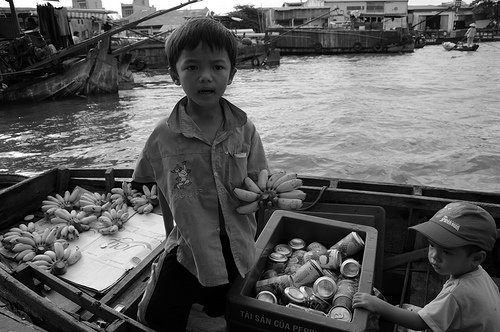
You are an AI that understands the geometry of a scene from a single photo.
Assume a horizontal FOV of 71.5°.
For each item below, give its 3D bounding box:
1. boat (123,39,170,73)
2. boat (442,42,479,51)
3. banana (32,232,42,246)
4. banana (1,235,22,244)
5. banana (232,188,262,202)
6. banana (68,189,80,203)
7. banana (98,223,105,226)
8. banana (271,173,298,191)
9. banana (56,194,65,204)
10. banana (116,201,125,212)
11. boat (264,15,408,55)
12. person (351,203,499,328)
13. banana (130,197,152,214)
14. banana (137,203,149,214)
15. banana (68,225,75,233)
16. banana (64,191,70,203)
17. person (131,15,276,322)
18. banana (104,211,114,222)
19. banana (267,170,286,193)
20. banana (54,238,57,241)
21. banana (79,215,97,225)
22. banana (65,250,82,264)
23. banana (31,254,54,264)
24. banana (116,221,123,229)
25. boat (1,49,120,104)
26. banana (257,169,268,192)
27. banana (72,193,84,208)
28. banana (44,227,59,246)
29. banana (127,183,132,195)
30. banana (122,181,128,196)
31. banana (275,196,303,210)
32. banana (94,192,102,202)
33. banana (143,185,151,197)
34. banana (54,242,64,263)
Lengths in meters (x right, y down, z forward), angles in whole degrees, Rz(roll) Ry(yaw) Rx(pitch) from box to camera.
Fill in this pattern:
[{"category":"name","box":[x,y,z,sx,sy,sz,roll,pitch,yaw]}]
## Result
[{"category":"boat","box":[-9.268,-9.947,31.519,4.227,2.507,2.540,-1,3,-14]},{"category":"boat","box":[25.277,-14.288,41.744,2.399,0.570,2.316,6,10,36]},{"category":"banana","box":[-2.869,0.985,4.676,0.044,0.064,0.183,-8,35,-47]},{"category":"banana","box":[-3.220,0.975,4.630,0.074,0.105,0.362,2,-7,-20]},{"category":"banana","box":[-0.026,0.229,2.771,0.273,0.094,0.076,9,-24,-7]},{"category":"banana","box":[-2.784,0.471,5.537,0.060,0.064,0.216,-1,39,22]},{"category":"banana","box":[-2.127,0.831,4.985,0.042,0.021,0.059,1,10,-7]},{"category":"banana","box":[0.312,0.102,3.020,0.324,0.107,0.088,-26,-7,-46]},{"category":"banana","box":[-2.979,0.505,5.470,0.066,0.071,0.268,-18,43,-32]},{"category":"banana","box":[-2.021,0.629,5.409,0.038,0.041,0.152,22,37,0]},{"category":"boat","box":[10.658,-15.586,41.621,17.459,4.907,4.144,0,16,3]},{"category":"person","box":[1.530,0.823,2.801,1.064,0.861,0.582,-7,20,-7]},{"category":"banana","box":[-1.655,0.606,5.312,0.236,0.098,0.256,-9,47,-19]},{"category":"banana","box":[-1.636,0.651,5.303,0.232,0.059,0.062,-50,23,-16]},{"category":"banana","box":[-2.456,0.863,4.784,0.080,0.095,0.080,-9,11,-22]},{"category":"banana","box":[-2.880,0.483,5.512,0.067,0.058,0.196,14,53,-20]},{"category":"person","box":[-0.328,0.114,2.862,0.852,2.505,0.800,-19,24,-34]},{"category":"banana","box":[-2.066,0.709,5.100,0.052,0.072,0.269,-17,41,-29]},{"category":"banana","box":[0.211,0.123,3.028,0.080,0.101,0.307,-29,10,33]},{"category":"banana","box":[-2.615,0.979,4.673,0.033,0.033,0.034,0,1,4]},{"category":"banana","box":[-2.337,0.777,5.040,0.157,0.049,0.123,1,40,-16]},{"category":"banana","box":[-2.206,1.149,4.361,0.184,0.064,0.060,-34,1,-28]},{"category":"banana","box":[-2.557,1.133,4.289,0.183,0.100,0.044,5,-1,4]},{"category":"banana","box":[-1.875,0.842,4.975,0.071,0.099,0.028,2,-3,-28]},{"category":"boat","box":[-9.791,-4.540,18.615,4.434,1.635,2.709,-9,30,-6]},{"category":"banana","box":[0.111,0.117,2.857,0.076,0.052,0.157,4,62,-3]},{"category":"banana","box":[-2.685,0.545,5.514,0.077,0.063,0.228,30,72,30]},{"category":"banana","box":[-2.667,0.935,4.680,0.068,0.085,0.254,7,32,-6]},{"category":"banana","box":[-1.934,0.362,5.603,0.034,0.143,0.088,-2,3,5]},{"category":"banana","box":[-1.980,0.349,5.544,0.067,0.232,0.075,-6,2,-4]},{"category":"banana","box":[0.320,0.304,2.857,0.234,0.160,0.076,6,12,-1]},{"category":"banana","box":[-2.444,0.488,5.590,0.098,0.041,0.162,-10,55,-32]},{"category":"banana","box":[-1.623,0.398,5.478,0.062,0.041,0.238,-23,56,-11]},{"category":"banana","box":[-2.362,1.044,4.325,0.080,0.278,0.103,-28,-23,8]}]
